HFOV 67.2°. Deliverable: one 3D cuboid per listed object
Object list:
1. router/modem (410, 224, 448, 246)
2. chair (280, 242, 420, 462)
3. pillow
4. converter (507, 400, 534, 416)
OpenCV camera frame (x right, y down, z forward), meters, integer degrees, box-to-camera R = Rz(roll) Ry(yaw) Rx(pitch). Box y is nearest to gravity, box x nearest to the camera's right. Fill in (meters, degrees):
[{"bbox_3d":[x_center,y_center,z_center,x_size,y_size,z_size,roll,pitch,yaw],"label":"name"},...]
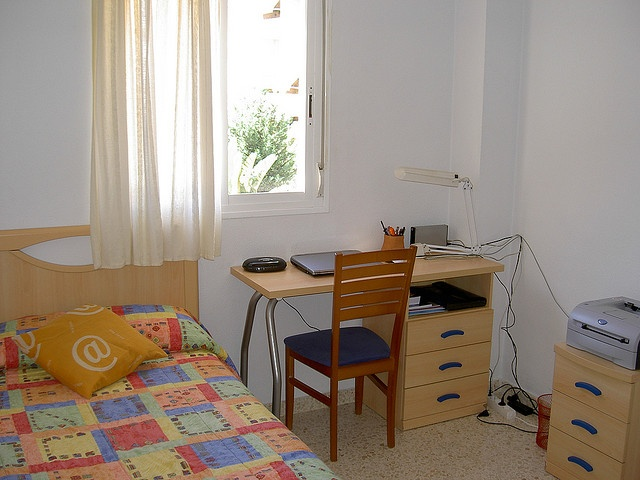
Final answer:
[{"bbox_3d":[0.771,-0.033,3.328,0.175,0.174,0.043,1,2,-21],"label":"router/modem"},{"bbox_3d":[0.168,0.590,2.788,0.590,1.215,0.570,-6,13,-39],"label":"chair"},{"bbox_3d":[-1.053,0.490,2.188,0.413,0.127,0.382,29,33,20],"label":"pillow"},{"bbox_3d":[1.310,1.084,3.112,0.074,0.025,0.112,-1,11,-27],"label":"converter"}]
